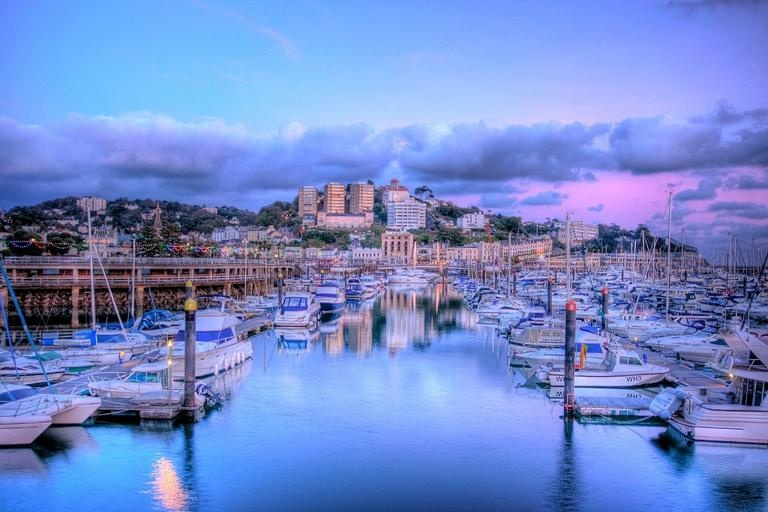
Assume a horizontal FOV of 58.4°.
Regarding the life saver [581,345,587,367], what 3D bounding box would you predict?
[{"bbox_3d":[12.038,5.962,41.430,0.343,1.198,1.119,2,3,16],"label":"life saver"}]
